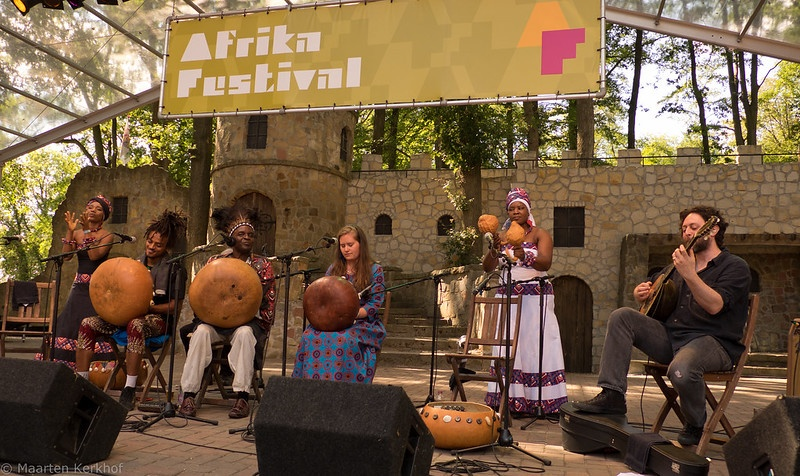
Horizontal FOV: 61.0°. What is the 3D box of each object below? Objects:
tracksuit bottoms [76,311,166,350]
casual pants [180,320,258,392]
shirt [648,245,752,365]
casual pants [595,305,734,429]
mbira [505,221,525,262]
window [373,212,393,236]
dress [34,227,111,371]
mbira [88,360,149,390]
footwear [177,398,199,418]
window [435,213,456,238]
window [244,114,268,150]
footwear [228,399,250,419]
[{"bbox_3d":[-4.577,1.568,10.839,1.168,0.424,1.109,12,-13,-42],"label":"tracksuit bottoms"},{"bbox_3d":[-2.762,2.018,10.478,1.017,1.345,1.100,-5,-33,-3],"label":"casual pants"},{"bbox_3d":[4.053,0.964,9.184,0.833,1.438,1.425,13,-9,-20],"label":"shirt"},{"bbox_3d":[3.573,1.794,9.476,1.454,1.943,1.570,-15,-3,17],"label":"casual pants"},{"bbox_3d":[1.809,0.010,10.532,0.285,0.591,0.342,-12,22,6],"label":"mbira"},{"bbox_3d":[-0.530,-0.423,22.367,0.712,0.889,0.058,-1,-12,8],"label":"window"},{"bbox_3d":[-5.237,0.820,11.158,1.118,2.096,1.357,19,17,-10],"label":"dress"},{"bbox_3d":[-4.684,2.136,11.079,0.580,0.316,0.617,3,-3,22],"label":"mbira"},{"bbox_3d":[-3.132,2.515,10.083,0.178,0.174,0.360,16,-19,-43],"label":"footwear"},{"bbox_3d":[1.475,-0.383,21.777,0.774,1.112,0.176,0,-8,16],"label":"window"},{"bbox_3d":[-4.184,-3.135,20.127,0.643,1.422,0.032,-1,-25,-2],"label":"window"},{"bbox_3d":[-2.400,2.542,10.167,0.304,0.282,0.285,1,-4,-19],"label":"footwear"}]
